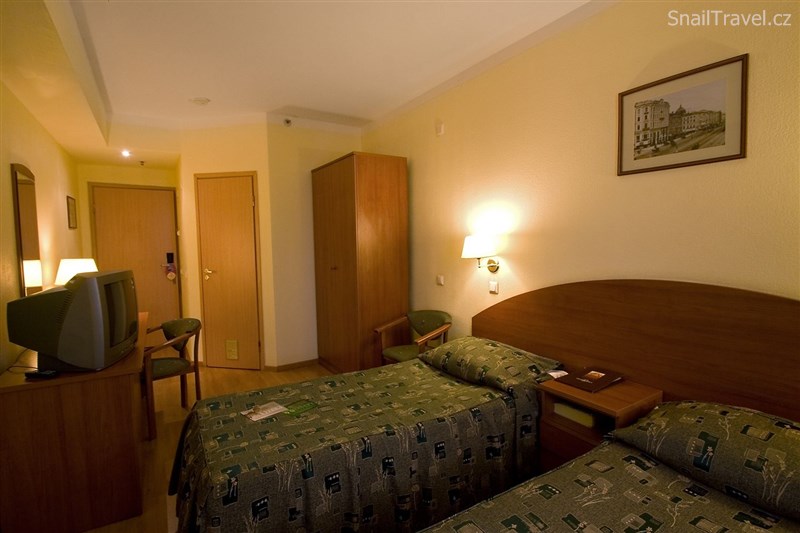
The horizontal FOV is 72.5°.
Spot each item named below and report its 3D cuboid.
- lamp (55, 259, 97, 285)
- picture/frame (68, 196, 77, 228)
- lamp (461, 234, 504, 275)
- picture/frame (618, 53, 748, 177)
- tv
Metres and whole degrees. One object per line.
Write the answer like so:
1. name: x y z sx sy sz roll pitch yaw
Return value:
1. lamp: -2.885 0.041 4.834 0.212 0.172 0.253 -2 1 29
2. picture/frame: -3.778 -0.632 6.276 0.034 0.381 0.627 -4 4 -24
3. lamp: 0.707 -0.117 4.994 0.287 0.361 0.361 -4 4 -27
4. picture/frame: 2.042 -1.084 3.853 1.026 0.747 0.038 0 0 43
5. tv: -2.473 0.345 4.257 0.767 0.679 0.744 1 3 -11
